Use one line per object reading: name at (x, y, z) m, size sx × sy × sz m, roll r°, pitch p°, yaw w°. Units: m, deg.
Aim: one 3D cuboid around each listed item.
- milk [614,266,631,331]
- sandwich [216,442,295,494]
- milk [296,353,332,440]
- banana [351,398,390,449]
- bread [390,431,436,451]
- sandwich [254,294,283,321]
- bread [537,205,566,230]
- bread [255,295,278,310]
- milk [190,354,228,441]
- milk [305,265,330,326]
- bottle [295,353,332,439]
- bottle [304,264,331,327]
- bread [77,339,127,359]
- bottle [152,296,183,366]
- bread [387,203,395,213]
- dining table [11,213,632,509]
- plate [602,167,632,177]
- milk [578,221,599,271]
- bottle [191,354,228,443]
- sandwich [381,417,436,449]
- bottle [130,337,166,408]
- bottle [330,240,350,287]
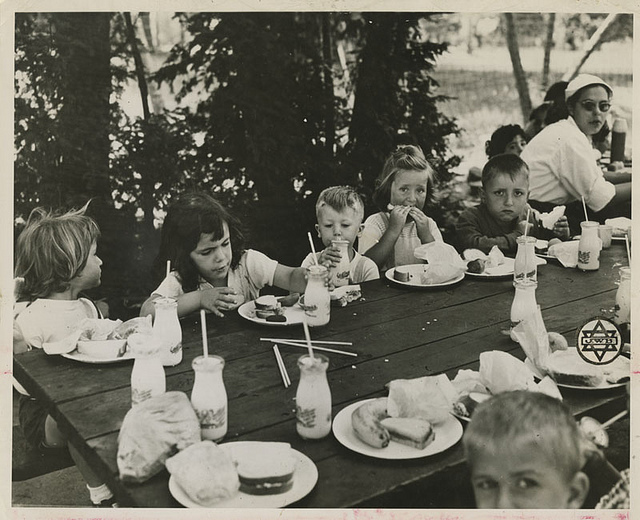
milk at (1.225, 0.157, 2.457) m, size 0.063 × 0.215 × 0.187 m, roll -2°, pitch 11°, yaw 27°
sandwich at (-0.164, 0.555, 1.663) m, size 0.148 × 0.038 × 0.155 m, roll 1°, pitch 12°, yaw -6°
milk at (-0.024, 0.409, 1.808) m, size 0.165 × 0.218 × 0.165 m, roll 0°, pitch 1°, yaw 11°
banana at (0.154, 0.473, 1.809) m, size 0.128 × 0.068 × 0.260 m, roll 13°, pitch 13°, yaw 8°
bread at (0.271, 0.510, 1.725) m, size 0.135 × 0.033 × 0.061 m, roll -7°, pitch 9°, yaw -4°
sandwich at (-0.203, 0.186, 2.420) m, size 0.076 × 0.040 × 0.103 m, roll -2°, pitch 18°, yaw -6°
bread at (1.210, -0.216, 3.144) m, size 0.160 × 0.109 × 0.058 m, roll -10°, pitch 11°, yaw -19°
bread at (-0.213, 0.170, 2.418) m, size 0.092 × 0.040 × 0.092 m, roll -8°, pitch 9°, yaw -7°
milk at (-0.335, 0.416, 1.806) m, size 0.122 × 0.225 × 0.123 m, roll 0°, pitch 1°, yaw 11°
milk at (-0.008, 0.136, 2.353) m, size 0.115 × 0.228 × 0.069 m, roll -10°, pitch 11°, yaw -18°
bottle at (-0.026, 0.406, 1.805) m, size 0.118 × 0.219 × 0.121 m, roll 0°, pitch 2°, yaw 0°
bottle at (-0.008, 0.134, 2.379) m, size 0.111 × 0.250 × 0.106 m, roll 1°, pitch 29°, yaw -1°
bread at (-0.756, 0.306, 2.119) m, size 0.107 × 0.042 × 0.092 m, roll -6°, pitch 6°, yaw 4°
bottle at (-0.527, 0.236, 2.114) m, size 0.088 × 0.233 × 0.090 m, roll 3°, pitch 14°, yaw -1°
bread at (0.352, -0.257, 3.010) m, size 0.031 × 0.032 × 0.038 m, roll 0°, pitch -13°, yaw -1°
dining table at (0.064, 0.321, 2.089) m, size 1.809 × 0.519 × 1.301 m, roll -13°, pitch 11°, yaw -32°
plate at (1.490, -0.437, 3.041) m, size 0.037 × 0.049 × 0.177 m, roll -9°, pitch 9°, yaw -11°
milk at (1.252, -0.065, 2.808) m, size 0.111 × 0.220 × 0.085 m, roll -7°, pitch 10°, yaw 0°
bottle at (-0.330, 0.408, 1.785) m, size 0.094 × 0.244 × 0.094 m, roll 6°, pitch 13°, yaw -1°
sandwich at (0.260, 0.477, 1.737) m, size 0.122 × 0.035 × 0.071 m, roll 14°, pitch 30°, yaw 35°
bottle at (-0.520, 0.338, 1.886) m, size 0.101 × 0.201 × 0.095 m, roll 2°, pitch 12°, yaw 0°
bottle at (0.090, 0.018, 2.772) m, size 0.082 × 0.190 × 0.130 m, roll -5°, pitch 10°, yaw 8°
